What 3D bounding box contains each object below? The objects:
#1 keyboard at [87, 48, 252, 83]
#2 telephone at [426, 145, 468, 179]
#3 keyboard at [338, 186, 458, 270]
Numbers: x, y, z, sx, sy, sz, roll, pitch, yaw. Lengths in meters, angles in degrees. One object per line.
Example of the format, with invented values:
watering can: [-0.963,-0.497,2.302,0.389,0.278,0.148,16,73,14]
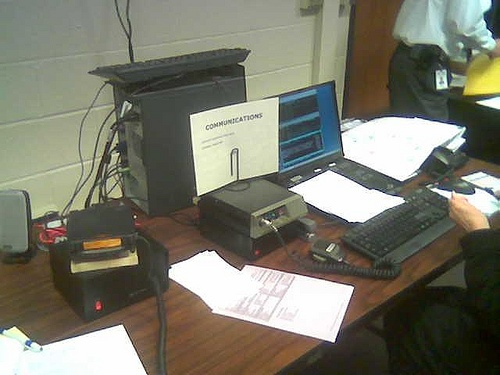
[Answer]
keyboard: [-0.330,-0.537,1.851,0.696,0.079,0.194,-21,34,-27]
telephone: [1.016,-0.145,2.179,0.243,0.087,0.136,-34,57,-29]
keyboard: [0.634,0.166,1.740,0.455,0.066,0.217,-32,44,-32]
